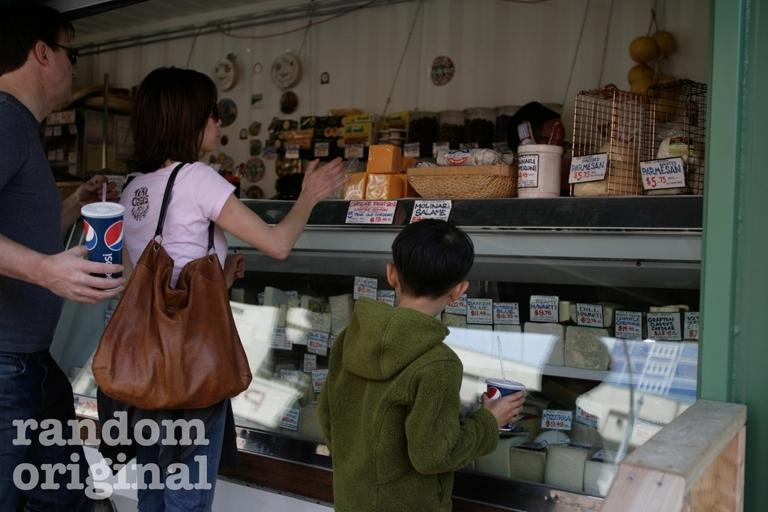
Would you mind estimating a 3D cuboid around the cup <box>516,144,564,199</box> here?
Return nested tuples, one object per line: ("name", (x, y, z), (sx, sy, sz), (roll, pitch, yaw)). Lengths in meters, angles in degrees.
("cup", (0.566, -0.311, 2.054), (0.157, 0.197, 0.163), (1, 4, 0))

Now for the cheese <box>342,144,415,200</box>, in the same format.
("cheese", (-0.021, -0.341, 2.425), (0.235, 0.274, 0.221), (4, 9, 34))

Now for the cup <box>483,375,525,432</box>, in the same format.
("cup", (0.374, 0.510, 1.867), (0.159, 0.205, 0.173), (1, 1, 0))
